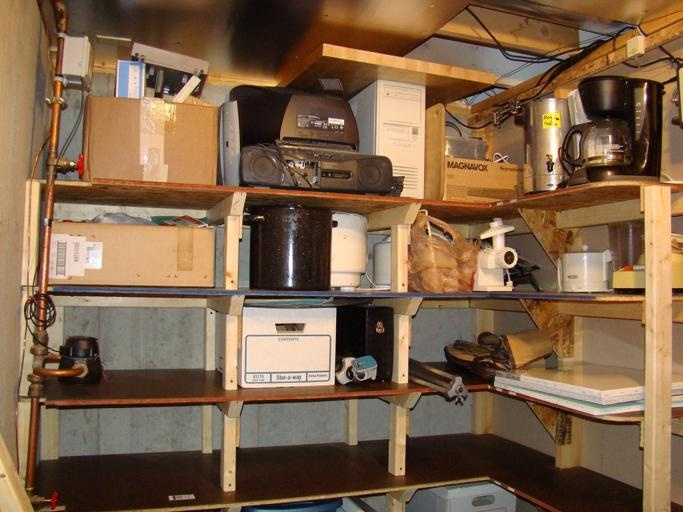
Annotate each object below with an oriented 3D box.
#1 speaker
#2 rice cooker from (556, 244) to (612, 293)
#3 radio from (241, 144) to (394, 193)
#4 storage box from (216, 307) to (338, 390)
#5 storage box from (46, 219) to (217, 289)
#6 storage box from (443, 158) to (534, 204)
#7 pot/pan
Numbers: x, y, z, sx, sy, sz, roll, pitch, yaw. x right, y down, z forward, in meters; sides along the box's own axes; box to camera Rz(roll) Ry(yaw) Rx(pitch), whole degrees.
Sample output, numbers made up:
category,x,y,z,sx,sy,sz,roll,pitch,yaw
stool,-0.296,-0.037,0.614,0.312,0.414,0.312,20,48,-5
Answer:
category,x,y,z,sx,sy,sz,roll,pitch,yaw
speaker,0.257,0.429,3.390,0.163,0.366,0.425,0,0,20
rice cooker,1.151,0.049,3.085,0.150,0.214,0.177,-3,9,-29
radio,-0.110,-0.397,2.932,0.699,0.209,0.070,1,5,-19
storage box,-0.330,0.380,3.144,0.521,0.400,0.449,0,-1,-19
storage box,-1.003,0.019,3.143,0.637,0.329,0.469,1,-3,-19
storage box,0.697,-0.394,3.468,0.451,0.234,0.421,0,7,-22
pot/pan,-0.247,-0.068,3.023,0.379,0.381,0.353,-1,7,-16
